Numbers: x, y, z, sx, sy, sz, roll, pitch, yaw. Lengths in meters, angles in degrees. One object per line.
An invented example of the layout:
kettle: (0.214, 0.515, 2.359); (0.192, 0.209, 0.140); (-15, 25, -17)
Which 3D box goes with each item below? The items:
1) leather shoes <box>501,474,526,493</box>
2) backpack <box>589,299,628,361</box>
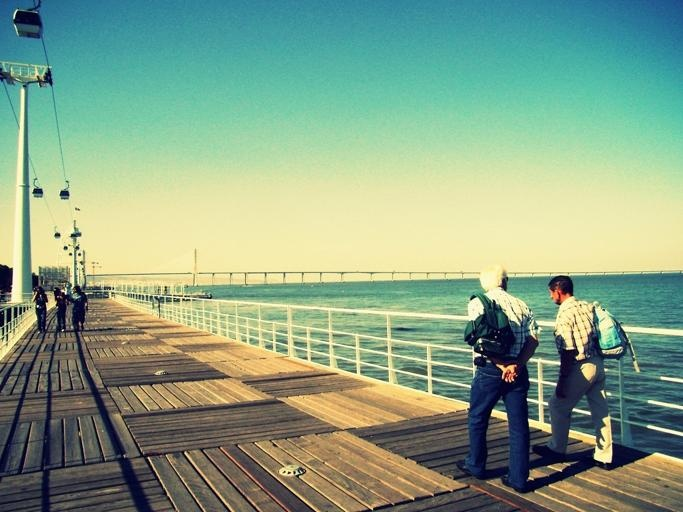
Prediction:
leather shoes: (1.694, 2.186, 5.192); (0.107, 0.136, 0.268); (-1, 0, -39)
backpack: (2.809, 0.746, 5.528); (0.316, 0.561, 0.418); (-11, 8, 21)
